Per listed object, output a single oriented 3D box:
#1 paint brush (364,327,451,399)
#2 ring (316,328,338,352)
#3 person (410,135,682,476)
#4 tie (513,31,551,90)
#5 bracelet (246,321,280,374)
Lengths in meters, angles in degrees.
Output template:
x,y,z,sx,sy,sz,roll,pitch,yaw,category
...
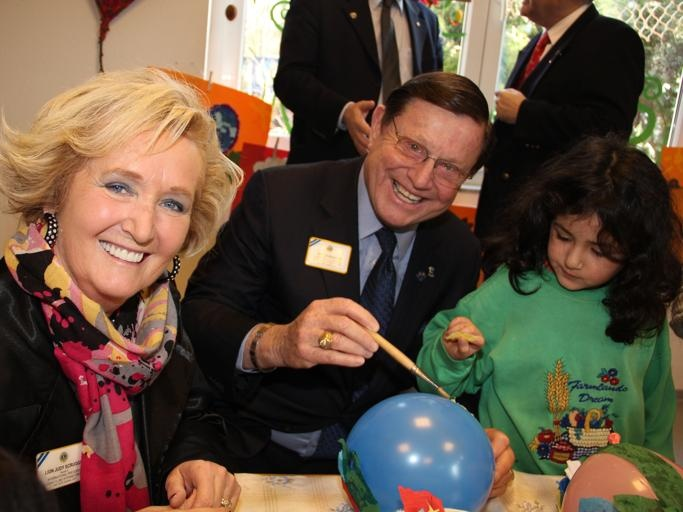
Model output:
x,y,z,sx,sy,sz,roll,pitch,yaw,category
0.217,0.364,2.008,0.037,0.037,0.356,-36,78,-26,paint brush
-0.044,0.251,1.771,0.049,0.058,0.024,8,27,14,ring
0.811,0.164,2.160,1.027,0.957,0.706,-7,27,-14,person
1.073,-1.116,3.337,0.079,0.079,0.601,11,64,29,tie
-0.260,0.324,2.000,0.091,0.183,0.110,2,26,3,bracelet
